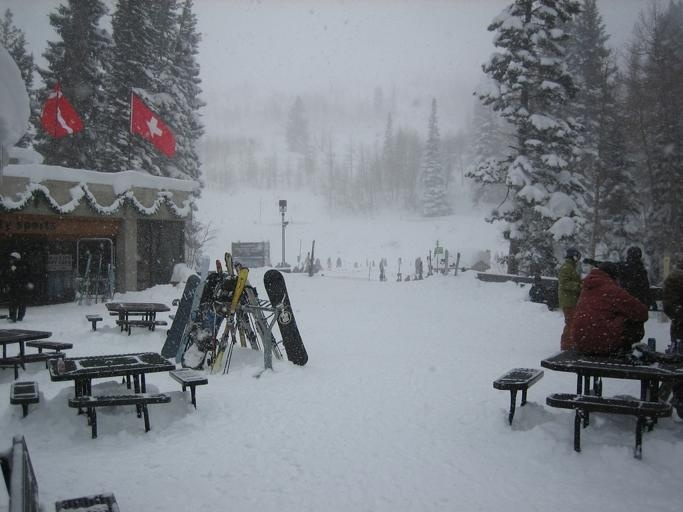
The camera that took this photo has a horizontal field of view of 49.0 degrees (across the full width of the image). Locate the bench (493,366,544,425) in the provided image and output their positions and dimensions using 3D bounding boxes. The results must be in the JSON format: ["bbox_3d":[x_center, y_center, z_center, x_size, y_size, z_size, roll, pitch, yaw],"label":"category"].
[{"bbox_3d":[4.470,3.529,18.787,0.783,1.261,1.598,-1,1,35],"label":"bench"}]

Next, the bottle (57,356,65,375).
[{"bbox_3d":[-6.964,2.708,18.449,0.185,0.340,0.894,-2,0,-21],"label":"bottle"}]

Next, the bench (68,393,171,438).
[{"bbox_3d":[-5.538,3.873,18.388,2.214,1.009,0.930,2,8,-24],"label":"bench"}]

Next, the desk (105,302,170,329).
[{"bbox_3d":[-6.789,1.846,24.581,1.284,0.722,1.247,1,14,-19],"label":"desk"}]

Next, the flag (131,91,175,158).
[{"bbox_3d":[-7.975,-5.483,31.120,1.674,2.185,0.855,-2,1,-13],"label":"flag"}]

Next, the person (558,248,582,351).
[{"bbox_3d":[6.591,1.209,21.585,0.845,2.877,0.960,0,0,28],"label":"person"}]

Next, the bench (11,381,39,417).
[{"bbox_3d":[-7.754,3.482,18.201,0.647,0.788,0.737,-2,1,-25],"label":"bench"}]
